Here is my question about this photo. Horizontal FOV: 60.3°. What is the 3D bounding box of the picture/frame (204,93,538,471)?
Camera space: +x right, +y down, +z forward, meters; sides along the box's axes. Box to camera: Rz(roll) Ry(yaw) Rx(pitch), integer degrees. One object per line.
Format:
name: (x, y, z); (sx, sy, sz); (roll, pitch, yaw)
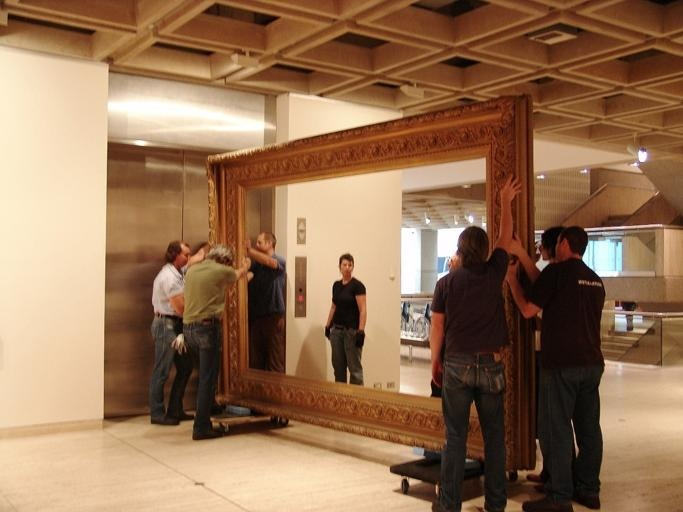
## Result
picture/frame: (0.004, 0.248, 6.186); (4.037, 3.300, 0.385); (-1, -4, 41)

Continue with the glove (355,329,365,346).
glove: (0.188, 0.871, 6.287); (0.100, 0.154, 0.047); (-1, -9, 33)

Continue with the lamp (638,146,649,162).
lamp: (5.429, -1.833, 10.591); (0.056, 0.273, 0.245); (1, 1, -38)
